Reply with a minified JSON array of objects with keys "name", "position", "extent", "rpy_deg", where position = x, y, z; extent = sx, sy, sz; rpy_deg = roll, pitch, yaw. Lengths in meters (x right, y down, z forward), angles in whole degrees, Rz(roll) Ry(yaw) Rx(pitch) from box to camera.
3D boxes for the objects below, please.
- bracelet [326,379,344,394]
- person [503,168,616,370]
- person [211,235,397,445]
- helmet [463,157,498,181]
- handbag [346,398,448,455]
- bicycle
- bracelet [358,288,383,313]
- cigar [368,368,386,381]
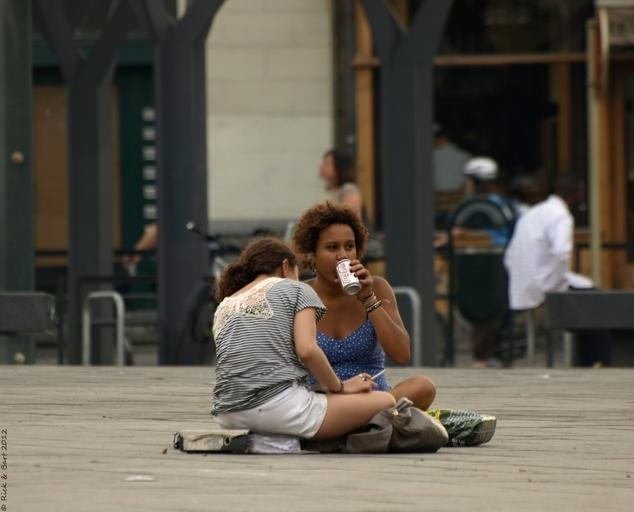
[{"name":"bracelet","position":[0.130,0.799,11.658],"extent":[0.070,0.096,0.038],"rpy_deg":[-3,-13,2]},{"name":"person","position":[1.993,-0.116,16.153],"extent":[0.725,1.157,0.347],"rpy_deg":[2,14,5]},{"name":"person","position":[-0.235,0.572,11.985],"extent":[0.972,1.389,1.253],"rpy_deg":[14,-22,-42]},{"name":"helmet","position":[1.415,-0.752,16.206],"extent":[0.227,0.187,0.145],"rpy_deg":[3,-7,13]},{"name":"handbag","position":[0.499,1.076,11.652],"extent":[0.445,0.226,0.362],"rpy_deg":[-2,-2,4]},{"name":"bicycle","position":[-0.881,0.311,16.298],"extent":[0.676,0.924,1.420],"rpy_deg":[0,-2,5]},{"name":"bracelet","position":[0.346,0.292,11.864],"extent":[0.127,0.110,0.123],"rpy_deg":[-40,-61,13]},{"name":"cigar","position":[0.381,0.749,11.940],"extent":[0.127,0.020,0.019],"rpy_deg":[-39,-34,-24]}]
